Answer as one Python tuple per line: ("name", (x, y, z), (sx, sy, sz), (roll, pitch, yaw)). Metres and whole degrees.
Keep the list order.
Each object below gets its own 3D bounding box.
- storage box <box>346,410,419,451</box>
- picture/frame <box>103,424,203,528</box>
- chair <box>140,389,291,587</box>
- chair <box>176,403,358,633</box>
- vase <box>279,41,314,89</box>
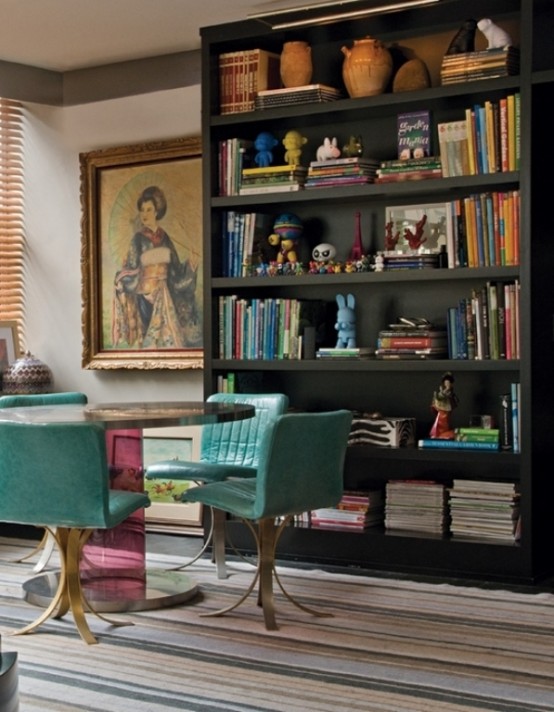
("storage box", (0.514, 0.310, 3.199), (0.241, 0.109, 0.177), (1, 2, 37))
("picture/frame", (-0.715, 0.701, 4.044), (0.561, 0.586, 0.041), (4, -34, -21))
("chair", (-0.281, 0.573, 3.115), (0.546, 0.736, 0.565), (-8, -12, 29))
("chair", (-0.045, 0.530, 2.369), (0.537, 0.673, 0.501), (-1, -3, 25))
("vase", (0.093, -1.449, 3.464), (0.185, 0.212, 0.170), (10, 21, 32))
